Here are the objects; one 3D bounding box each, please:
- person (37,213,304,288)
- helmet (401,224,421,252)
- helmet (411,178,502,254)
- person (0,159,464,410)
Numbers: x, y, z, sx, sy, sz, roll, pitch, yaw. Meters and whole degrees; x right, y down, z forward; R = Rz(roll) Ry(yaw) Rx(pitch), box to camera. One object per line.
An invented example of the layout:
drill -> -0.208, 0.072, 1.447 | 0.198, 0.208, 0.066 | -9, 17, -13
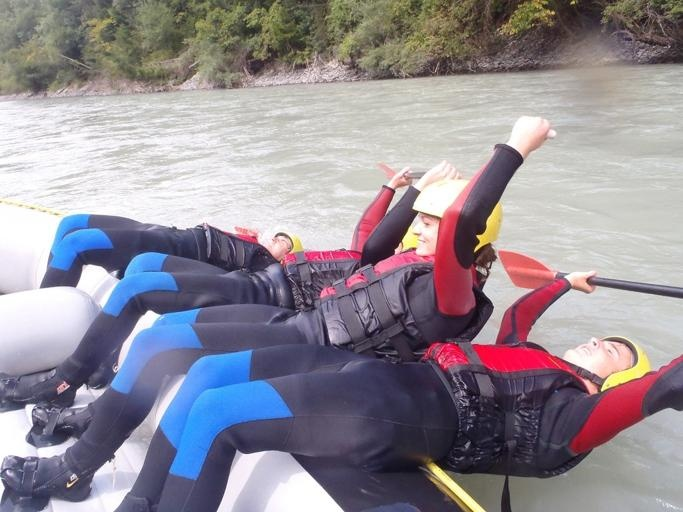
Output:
person -> -1.075, -0.074, 3.573 | 0.963, 0.276, 0.584 | 5, 18, -32
helmet -> 0.377, -0.098, 3.422 | 0.131, 0.139, 0.112 | -3, -4, 0
helmet -> 0.536, -0.144, 2.838 | 0.308, 0.397, 0.286 | -42, 51, -17
person -> -0.597, 0.122, 3.357 | 2.686, 0.804, 0.747 | -8, 29, -15
